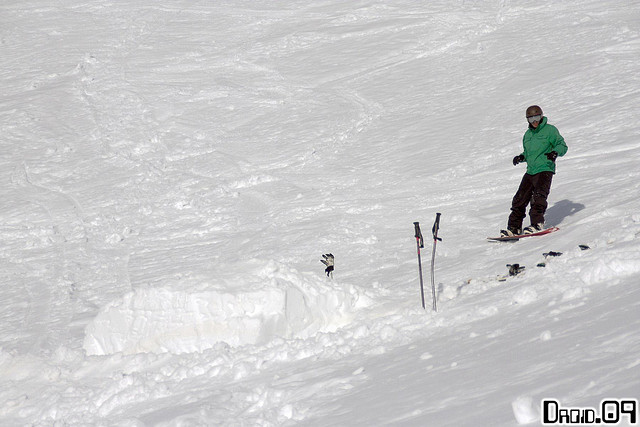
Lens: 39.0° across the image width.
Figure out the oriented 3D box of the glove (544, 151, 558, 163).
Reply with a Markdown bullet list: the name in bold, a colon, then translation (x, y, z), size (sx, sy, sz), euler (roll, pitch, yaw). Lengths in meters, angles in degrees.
- **glove**: translation (6.775, -1.670, 26.502), size (0.293, 0.468, 0.375), euler (-13, 43, -4)

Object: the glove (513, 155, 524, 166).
- **glove**: translation (5.853, -1.586, 26.759), size (0.275, 0.106, 0.350), euler (0, 27, 39)
